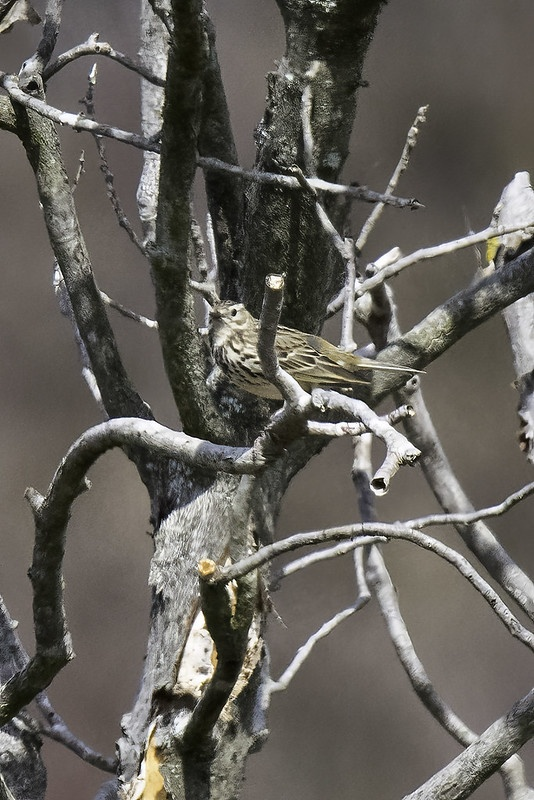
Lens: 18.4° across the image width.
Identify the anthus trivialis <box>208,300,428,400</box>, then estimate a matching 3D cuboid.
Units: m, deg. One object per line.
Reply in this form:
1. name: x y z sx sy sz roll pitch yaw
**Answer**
1. anthus trivialis: 0.111 -0.088 4.106 0.534 0.147 0.333 -3 -102 -18
